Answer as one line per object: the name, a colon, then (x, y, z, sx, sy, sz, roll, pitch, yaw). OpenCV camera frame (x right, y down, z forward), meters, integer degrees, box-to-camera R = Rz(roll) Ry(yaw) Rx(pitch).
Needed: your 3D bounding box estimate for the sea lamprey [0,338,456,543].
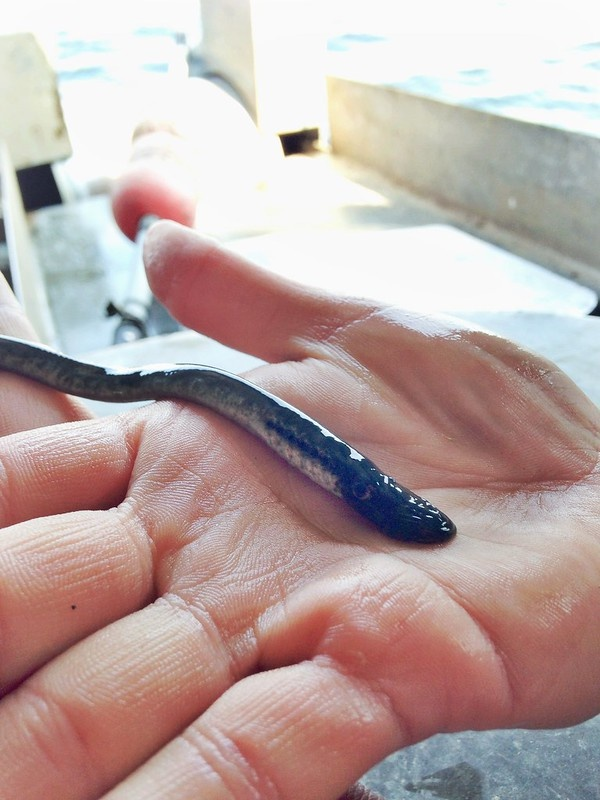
sea lamprey: (-0.221, -0.030, 0.871, 0.825, 0.052, 0.147, 14, -10, 39)
